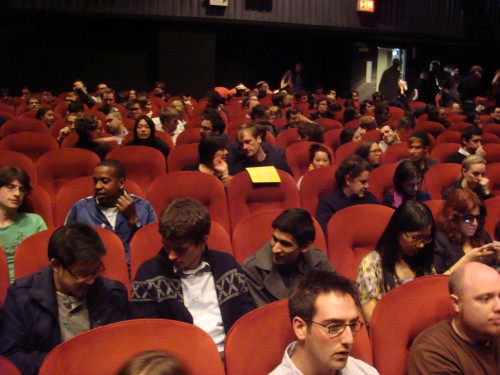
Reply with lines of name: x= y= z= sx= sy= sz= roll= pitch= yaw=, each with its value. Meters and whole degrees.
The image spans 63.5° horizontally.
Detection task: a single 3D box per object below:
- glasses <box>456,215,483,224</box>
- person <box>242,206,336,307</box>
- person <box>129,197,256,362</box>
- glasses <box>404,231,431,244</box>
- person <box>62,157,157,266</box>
glasses: x=1.725 y=0.236 z=3.118 sx=0.163 sy=0.069 sz=0.037 roll=1 pitch=11 yaw=-10
person: x=0.282 y=0.557 z=2.837 sx=0.638 sy=0.877 sz=0.472 roll=-2 pitch=21 yaw=0
person: x=-0.335 y=0.538 z=2.550 sx=0.771 sy=0.904 sz=0.377 roll=3 pitch=11 yaw=-2
glasses: x=1.144 y=0.342 z=2.756 sx=0.101 sy=0.034 sz=0.105 roll=8 pitch=4 yaw=-25
person: x=-1.136 y=0.187 z=3.179 sx=0.838 sy=0.911 sz=0.472 roll=0 pitch=-5 yaw=-4
